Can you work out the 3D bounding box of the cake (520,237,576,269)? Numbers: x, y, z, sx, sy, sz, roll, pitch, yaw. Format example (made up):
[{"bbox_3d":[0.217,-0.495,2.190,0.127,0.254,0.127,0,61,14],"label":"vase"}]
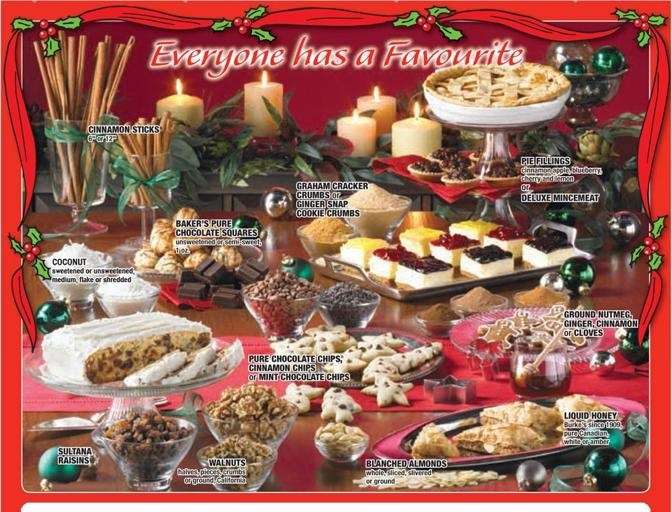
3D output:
[{"bbox_3d":[0.792,-0.024,2.059,0.155,0.069,0.135,-9,18,-25],"label":"cake"}]

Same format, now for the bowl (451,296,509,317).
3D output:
[{"bbox_3d":[0.431,0.138,1.648,0.108,0.028,0.094,-5,8,-27],"label":"bowl"}]

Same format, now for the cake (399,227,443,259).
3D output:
[{"bbox_3d":[0.332,-0.055,2.198,0.159,0.071,0.140,-10,19,-31],"label":"cake"}]

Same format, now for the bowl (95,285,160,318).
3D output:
[{"bbox_3d":[-0.590,0.132,1.566,0.169,0.089,0.075,-3,9,-14],"label":"bowl"}]

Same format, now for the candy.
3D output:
[{"bbox_3d":[-0.453,0.032,1.884,0.511,0.138,0.404,-15,40,-18],"label":"candy"}]

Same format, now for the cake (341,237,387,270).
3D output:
[{"bbox_3d":[0.087,-0.020,2.029,0.160,0.071,0.145,-9,17,-35],"label":"cake"}]

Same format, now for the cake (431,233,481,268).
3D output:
[{"bbox_3d":[0.433,-0.034,2.090,0.174,0.083,0.160,-12,23,-30],"label":"cake"}]

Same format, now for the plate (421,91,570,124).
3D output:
[{"bbox_3d":[0.607,-0.629,2.187,0.639,0.122,0.335,-3,23,-1],"label":"plate"}]

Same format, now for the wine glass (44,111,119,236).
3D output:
[{"bbox_3d":[-1.031,-0.347,2.327,0.322,0.513,0.306,14,31,26],"label":"wine glass"}]

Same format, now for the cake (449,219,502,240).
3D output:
[{"bbox_3d":[0.556,-0.113,2.233,0.131,0.033,0.124,-8,14,-40],"label":"cake"}]

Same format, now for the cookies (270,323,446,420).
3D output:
[{"bbox_3d":[0.044,0.240,1.398,0.455,0.136,0.339,-13,17,-25],"label":"cookies"}]

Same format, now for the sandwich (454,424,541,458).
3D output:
[{"bbox_3d":[0.317,0.364,1.090,0.173,0.051,0.066,0,8,6],"label":"sandwich"}]

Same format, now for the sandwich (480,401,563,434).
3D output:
[{"bbox_3d":[0.385,0.337,1.140,0.115,0.039,0.104,-13,14,-41],"label":"sandwich"}]

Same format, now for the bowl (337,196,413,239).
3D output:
[{"bbox_3d":[0.173,-0.143,2.151,0.248,0.102,0.203,-2,11,-4],"label":"bowl"}]

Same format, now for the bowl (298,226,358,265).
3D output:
[{"bbox_3d":[-0.049,-0.061,2.172,0.206,0.123,0.193,-4,23,2],"label":"bowl"}]

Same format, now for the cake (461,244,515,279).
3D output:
[{"bbox_3d":[0.539,0.019,1.988,0.181,0.099,0.129,2,9,19],"label":"cake"}]

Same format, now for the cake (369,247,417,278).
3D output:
[{"bbox_3d":[0.192,0.008,1.983,0.152,0.070,0.143,-9,18,-34],"label":"cake"}]

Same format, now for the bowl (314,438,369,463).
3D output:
[{"bbox_3d":[0.011,0.378,1.071,0.083,0.023,0.069,0,-1,1],"label":"bowl"}]

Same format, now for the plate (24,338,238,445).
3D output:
[{"bbox_3d":[-0.435,0.287,1.156,0.354,0.114,0.271,8,24,32],"label":"plate"}]

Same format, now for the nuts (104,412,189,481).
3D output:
[{"bbox_3d":[-0.355,0.373,1.077,0.176,0.090,0.156,0,1,-2],"label":"nuts"}]

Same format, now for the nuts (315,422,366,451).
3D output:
[{"bbox_3d":[0.008,0.356,1.079,0.084,0.023,0.069,1,2,0],"label":"nuts"}]

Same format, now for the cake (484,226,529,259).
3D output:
[{"bbox_3d":[0.658,-0.067,2.132,0.167,0.113,0.151,-10,19,-35],"label":"cake"}]

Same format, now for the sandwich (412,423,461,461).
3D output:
[{"bbox_3d":[0.195,0.365,1.076,0.081,0.050,0.132,4,9,33],"label":"sandwich"}]
